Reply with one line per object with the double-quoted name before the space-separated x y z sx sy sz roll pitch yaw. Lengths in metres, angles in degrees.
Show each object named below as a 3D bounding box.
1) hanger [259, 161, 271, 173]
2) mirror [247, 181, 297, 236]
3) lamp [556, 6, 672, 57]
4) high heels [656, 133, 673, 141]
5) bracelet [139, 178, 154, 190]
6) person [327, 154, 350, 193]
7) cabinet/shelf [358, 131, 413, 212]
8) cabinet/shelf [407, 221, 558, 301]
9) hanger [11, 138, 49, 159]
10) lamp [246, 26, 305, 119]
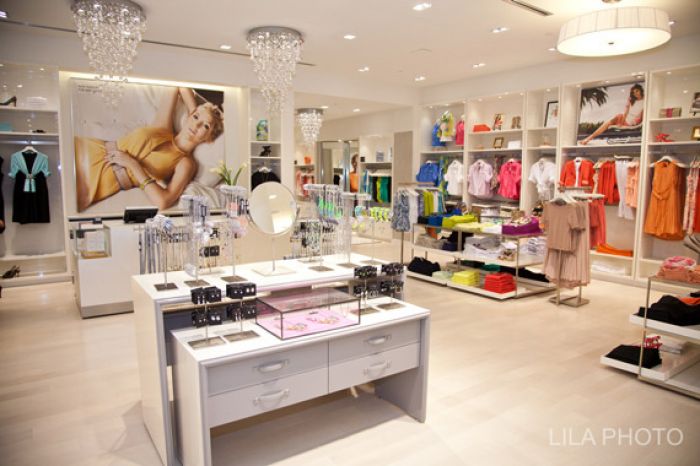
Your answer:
"hanger" -1.821 -1.397 9.215 0.257 0.278 0.040 -1 -2 -19
"mirror" -0.752 -0.221 4.302 0.504 0.495 0.112 -11 2 -36
"lamp" 3.336 -2.617 5.572 1.259 0.425 1.028 -5 8 -22
"high heels" 5.408 -1.643 7.555 0.167 0.096 0.223 -3 6 2
"bracelet" -3.866 -0.942 8.326 0.054 0.200 0.211 25 45 18
"person" -0.327 -1.873 13.456 0.369 1.125 1.057 -5 8 -23
"cabinet/shelf" 1.153 -1.617 12.043 0.617 2.003 1.848 -11 5 -41
"cabinet/shelf" 2.272 0.378 7.921 1.448 1.175 2.365 -8 10 -39
"hanger" -5.677 -1.490 7.708 0.409 0.256 0.021 -2 1 -27
"lamp" -1.557 -2.771 7.748 1.157 1.460 1.134 -5 16 -17
